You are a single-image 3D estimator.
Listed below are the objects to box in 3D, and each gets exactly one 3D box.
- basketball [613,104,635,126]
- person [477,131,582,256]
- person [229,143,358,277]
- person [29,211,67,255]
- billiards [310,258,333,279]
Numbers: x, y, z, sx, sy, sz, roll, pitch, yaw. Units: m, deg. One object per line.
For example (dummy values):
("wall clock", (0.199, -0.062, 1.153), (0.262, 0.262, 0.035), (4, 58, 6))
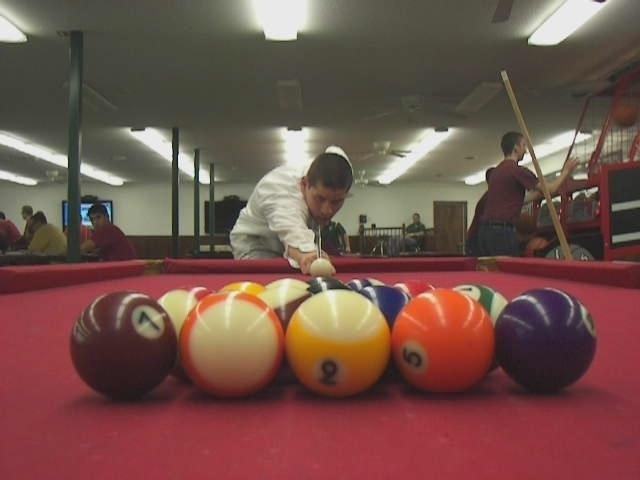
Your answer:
("basketball", (3.009, -1.228, 5.327), (0.182, 0.156, 0.188), (-4, 11, 20))
("person", (1.748, -0.335, 4.765), (0.657, 1.208, 1.051), (3, 2, 24))
("person", (-0.179, -0.172, 3.155), (0.499, 0.812, 0.796), (3, 2, 1))
("person", (-3.504, -0.126, 6.951), (0.400, 0.634, 2.690), (-1, -1, -27))
("billiards", (0.009, 0.127, 2.504), (0.080, 0.107, 0.085), (-3, 12, -16))
